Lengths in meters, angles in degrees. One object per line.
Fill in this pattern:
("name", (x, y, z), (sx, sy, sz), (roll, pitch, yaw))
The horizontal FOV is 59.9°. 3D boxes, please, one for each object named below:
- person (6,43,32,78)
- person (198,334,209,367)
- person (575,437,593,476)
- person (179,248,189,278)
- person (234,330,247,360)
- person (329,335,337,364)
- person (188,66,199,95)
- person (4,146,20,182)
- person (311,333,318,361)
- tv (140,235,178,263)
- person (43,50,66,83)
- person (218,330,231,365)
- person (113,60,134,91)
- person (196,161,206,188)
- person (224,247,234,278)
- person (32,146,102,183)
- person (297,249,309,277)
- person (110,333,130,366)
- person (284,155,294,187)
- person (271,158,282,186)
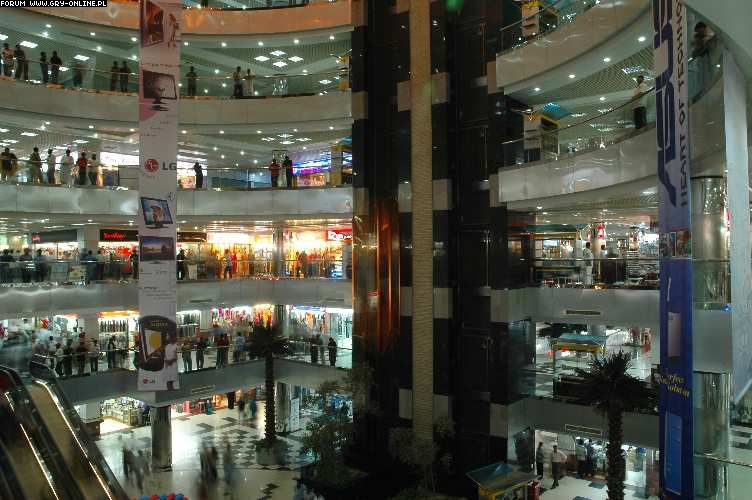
("person", (-15.016, -7.869, 27.490), (0.928, 1.464, 0.467), (-2, 4, -29))
("person", (-7.493, 4.439, 28.323), (0.400, 1.127, 0.360), (-1, 4, -13))
("person", (8.784, 8.597, 27.647), (0.691, 1.253, 1.006), (1, 4, 15))
("person", (-8.616, 0.585, 29.370), (0.389, 1.291, 0.540), (-1, 4, -16))
("person", (-6.086, 4.329, 29.323), (0.501, 1.046, 0.272), (-1, 4, -17))
("person", (-1.848, 4.416, 29.115), (0.637, 1.199, 0.351), (3, 5, 40))
("person", (-8.400, -7.714, 30.186), (0.433, 1.412, 0.700), (-1, 4, -16))
("person", (-15.188, -3.501, 27.355), (0.599, 1.185, 1.532), (-2, 4, -29))
("person", (-2.762, 4.375, 29.563), (0.454, 1.227, 0.124), (2, 4, 25))
("tv", (-6.528, -0.074, 19.689), (0.942, 0.745, 0.204), (0, 3, -5))
("person", (-13.969, -7.899, 28.390), (0.807, 1.506, 0.676), (-2, 4, -26))
("person", (-6.724, 4.327, 29.019), (0.525, 1.279, 0.849), (0, 4, -11))
("person", (-11.402, -7.761, 29.409), (0.817, 1.445, 0.569), (-1, 4, -21))
("person", (-8.096, -3.427, 30.147), (0.456, 1.123, 0.359), (-1, 4, -15))
("person", (-6.801, 0.589, 30.517), (0.487, 1.297, 0.592), (0, 3, -8))
("person", (-13.131, -3.505, 27.936), (2.861, 1.476, 0.378), (-2, 4, -34))
("person", (-3.354, 0.640, 30.445), (0.473, 1.088, 0.156), (1, 4, 11))
("person", (-10.670, 4.190, 27.291), (0.850, 0.937, 1.420), (-1, 4, -22))
("person", (-4.013, -3.589, 30.304), (0.521, 1.365, 0.968), (-1, 4, -11))
("person", (-4.631, -3.511, 30.275), (0.518, 1.198, 0.342), (1, 3, 6))
